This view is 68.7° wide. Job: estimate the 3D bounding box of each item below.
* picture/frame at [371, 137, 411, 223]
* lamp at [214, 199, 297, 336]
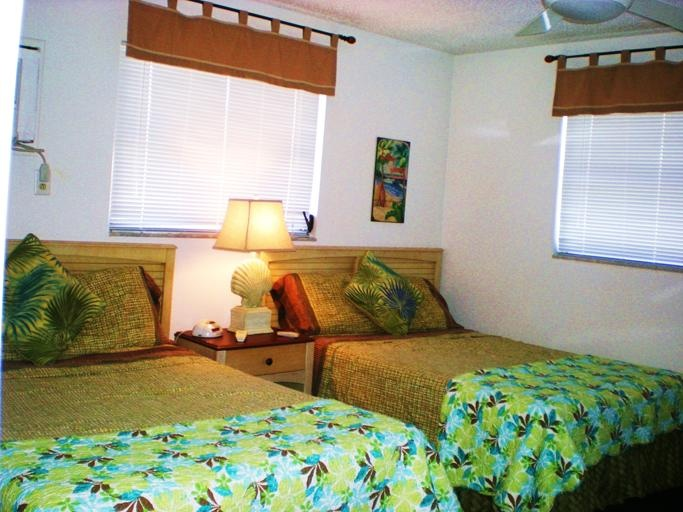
[{"bbox_3d":[0.456,-0.684,4.596,0.401,0.764,0.035,2,5,-36],"label":"picture/frame"},{"bbox_3d":[-0.562,0.056,3.620,0.573,0.968,0.560,-2,4,33],"label":"lamp"}]
